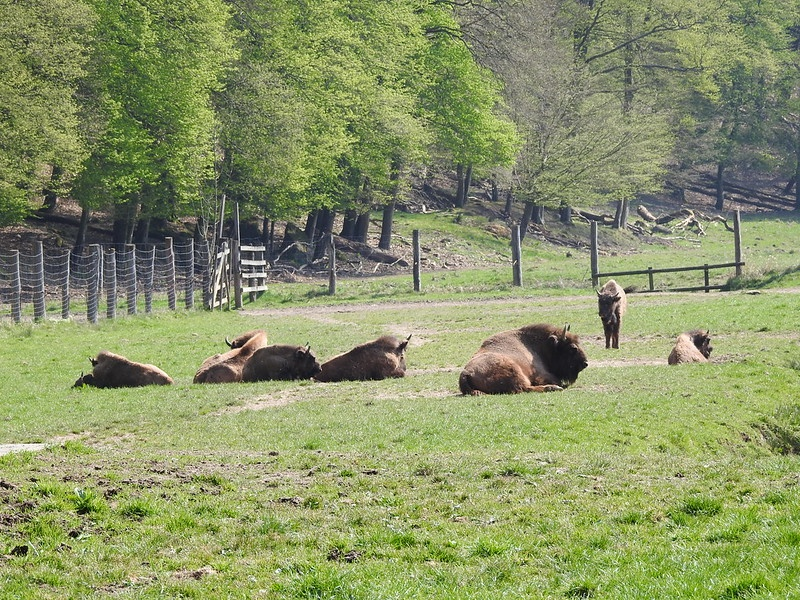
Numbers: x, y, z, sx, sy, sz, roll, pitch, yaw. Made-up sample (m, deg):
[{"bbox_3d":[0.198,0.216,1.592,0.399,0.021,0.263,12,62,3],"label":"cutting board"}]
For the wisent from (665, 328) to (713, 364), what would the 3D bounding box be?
[{"bbox_3d":[14.353,2.299,77.084,1.095,1.426,2.652,8,27,42],"label":"wisent"}]
